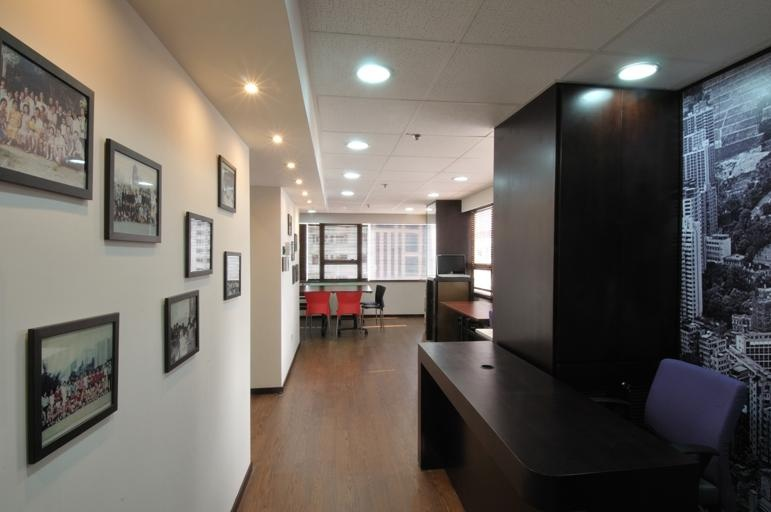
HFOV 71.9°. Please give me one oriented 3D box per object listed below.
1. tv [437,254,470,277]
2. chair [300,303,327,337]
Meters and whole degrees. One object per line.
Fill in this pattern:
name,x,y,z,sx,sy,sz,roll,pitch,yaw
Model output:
tv,0.853,0.120,6.912,0.421,0.297,0.232,0,1,0
chair,-1.156,1.011,8.400,0.495,0.697,0.447,0,-2,0
